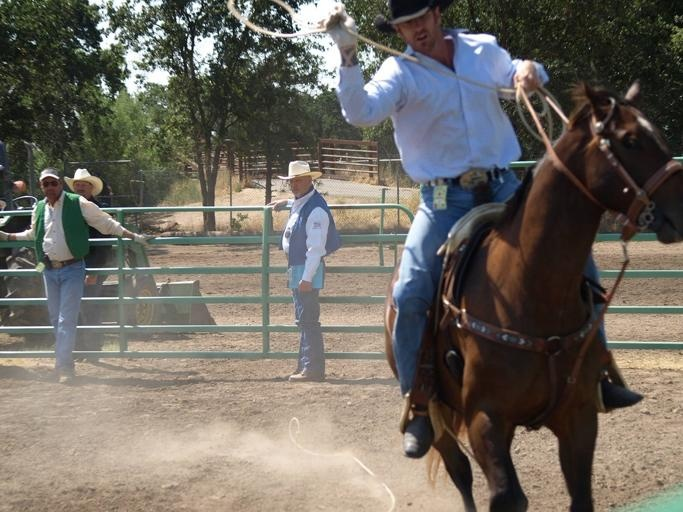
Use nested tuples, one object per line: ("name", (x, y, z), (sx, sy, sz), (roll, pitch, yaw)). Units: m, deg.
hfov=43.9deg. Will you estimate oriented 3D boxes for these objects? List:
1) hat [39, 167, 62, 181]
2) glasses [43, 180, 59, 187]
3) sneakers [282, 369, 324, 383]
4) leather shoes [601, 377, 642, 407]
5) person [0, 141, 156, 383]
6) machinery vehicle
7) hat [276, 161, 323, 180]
("hat", (-3.771, -1.063, 10.913), (0.252, 0.148, 0.463), (-6, 15, -18))
("glasses", (-3.724, -0.924, 10.778), (0.180, 0.106, 0.070), (-7, 15, -24))
("sneakers", (-0.493, 1.505, 10.677), (0.491, 0.223, 0.178), (4, -2, 9))
("leather shoes", (2.451, 1.253, 7.426), (0.321, 0.149, 0.211), (7, 57, 17))
("person", (-3.499, 0.205, 10.987), (0.961, 2.646, 0.769), (-4, 13, -11))
("machinery vehicle", (-3.526, 0.310, 12.547), (3.068, 1.708, 1.728), (-3, 4, -18))
("hat", (-0.515, -1.077, 10.838), (0.398, 0.198, 0.482), (-4, -5, 8))
